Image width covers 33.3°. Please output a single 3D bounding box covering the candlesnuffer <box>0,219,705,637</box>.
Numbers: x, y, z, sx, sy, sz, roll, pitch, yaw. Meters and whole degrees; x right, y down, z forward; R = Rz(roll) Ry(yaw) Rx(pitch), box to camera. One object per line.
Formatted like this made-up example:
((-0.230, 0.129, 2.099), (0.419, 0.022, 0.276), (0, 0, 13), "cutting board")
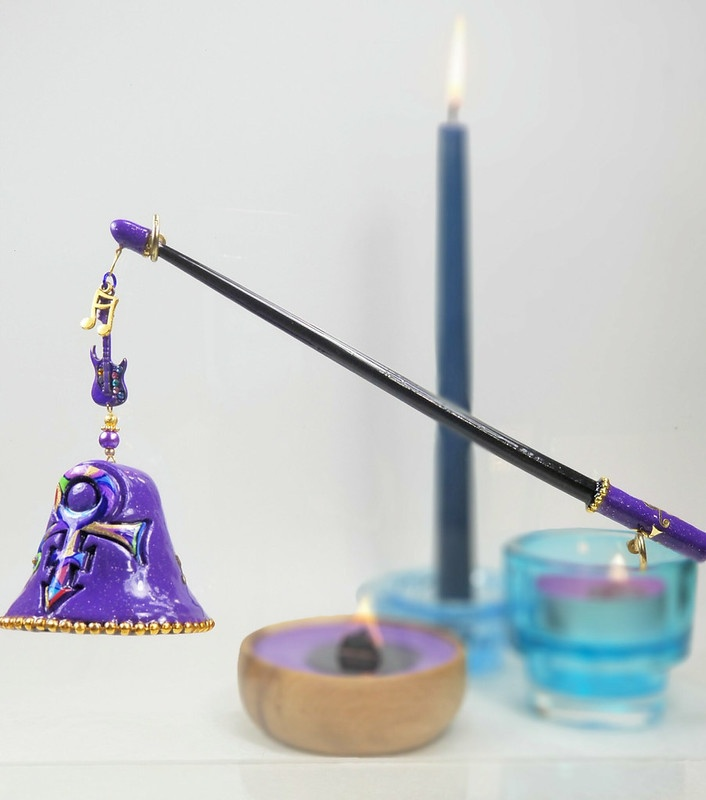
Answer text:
((-0.004, 0.015, 0.776), (0.420, 0.259, 0.139), (-1, 11, -4), "candlesnuffer")
